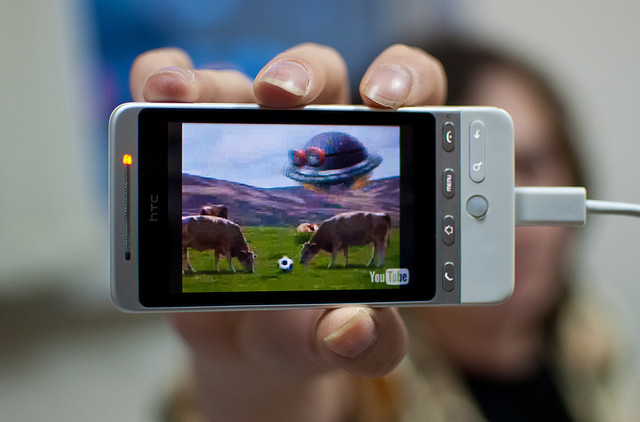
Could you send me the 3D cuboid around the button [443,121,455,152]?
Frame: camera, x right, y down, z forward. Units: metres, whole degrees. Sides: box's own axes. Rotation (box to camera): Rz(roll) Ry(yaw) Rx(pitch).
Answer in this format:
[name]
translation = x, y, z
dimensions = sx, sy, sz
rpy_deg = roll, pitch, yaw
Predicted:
[button]
translation = 0.598, -0.345, 3.091
dimensions = 0.054, 0.031, 0.133
rpy_deg = 1, 80, 2
